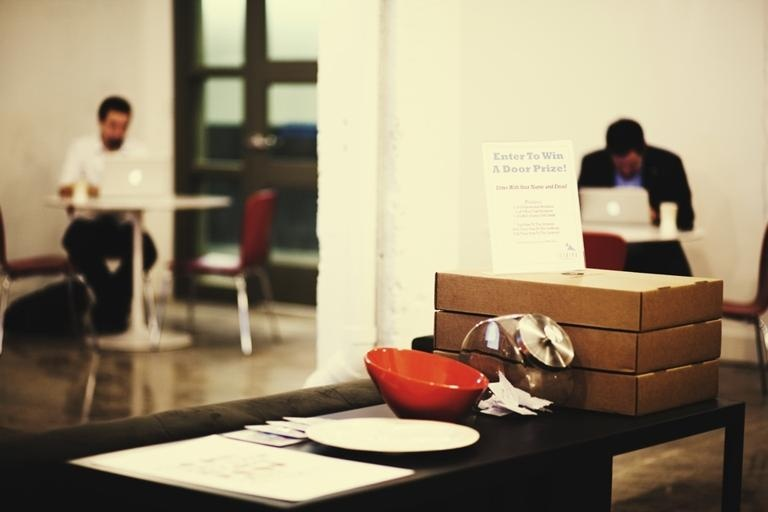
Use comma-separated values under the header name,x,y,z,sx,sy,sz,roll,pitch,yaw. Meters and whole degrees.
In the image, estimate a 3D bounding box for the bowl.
name,x,y,z,sx,sy,sz,roll,pitch,yaw
bowl,0.073,0.235,1.198,0.148,0.065,0.153,11,1,0

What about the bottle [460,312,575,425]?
name,x,y,z,sx,sy,sz,roll,pitch,yaw
bottle,0.274,0.212,1.299,0.216,0.192,0.207,-2,4,-39

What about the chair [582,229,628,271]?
name,x,y,z,sx,sy,sz,roll,pitch,yaw
chair,0.931,-0.019,2.733,0.169,0.209,0.178,6,11,28

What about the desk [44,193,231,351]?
name,x,y,z,sx,sy,sz,roll,pitch,yaw
desk,-1.172,0.086,3.096,0.744,0.547,0.704,0,-2,18

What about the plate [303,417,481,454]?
name,x,y,z,sx,sy,sz,roll,pitch,yaw
plate,0.015,0.298,1.094,0.286,0.025,0.112,-1,7,0
